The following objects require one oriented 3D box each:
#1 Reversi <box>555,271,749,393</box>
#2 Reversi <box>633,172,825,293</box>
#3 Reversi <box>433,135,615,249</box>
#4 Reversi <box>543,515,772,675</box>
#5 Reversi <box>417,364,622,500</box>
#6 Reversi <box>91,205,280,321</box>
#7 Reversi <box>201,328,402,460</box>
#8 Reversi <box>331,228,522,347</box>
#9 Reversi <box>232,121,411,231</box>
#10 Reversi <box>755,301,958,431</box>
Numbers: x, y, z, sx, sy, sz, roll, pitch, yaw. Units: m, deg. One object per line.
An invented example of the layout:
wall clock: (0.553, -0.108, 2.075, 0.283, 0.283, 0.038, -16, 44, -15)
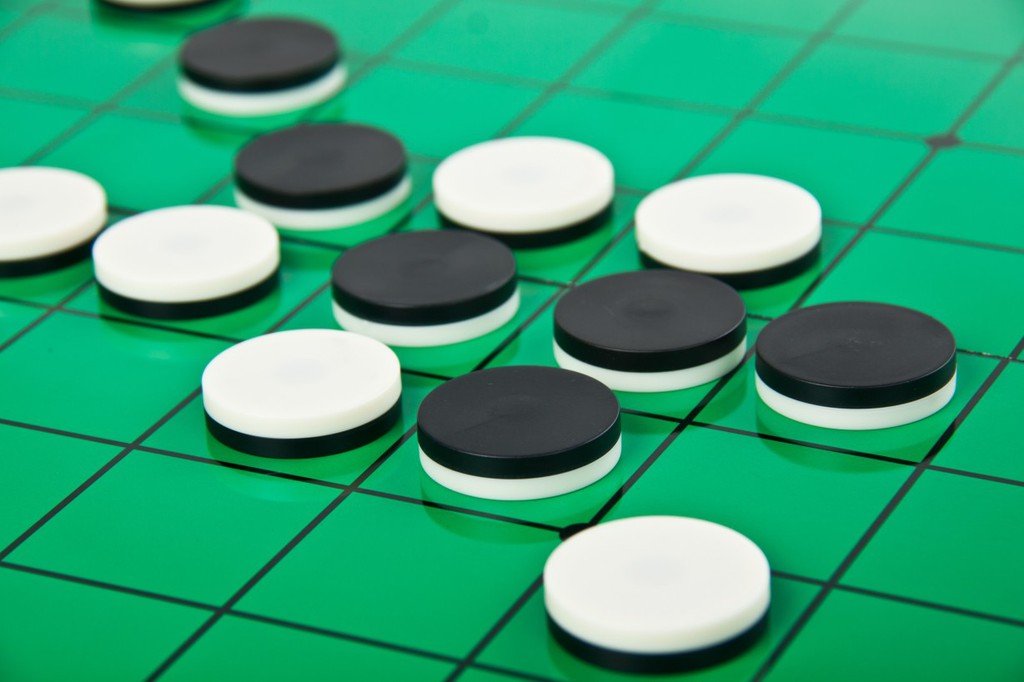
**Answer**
Reversi: (0.180, -0.021, 1.362, 0.243, 0.073, 0.208, -2, 47, 7)
Reversi: (0.321, -0.171, 1.549, 0.267, 0.070, 0.240, 5, 48, 13)
Reversi: (0.020, -0.239, 1.652, 0.279, 0.063, 0.238, -4, 46, 5)
Reversi: (0.140, 0.234, 1.000, 0.211, 0.050, 0.159, -7, 46, 2)
Reversi: (0.011, 0.100, 1.206, 0.227, 0.073, 0.177, -7, 46, 3)
Reversi: (-0.463, -0.119, 1.515, 0.255, 0.071, 0.217, -12, 46, -2)
Reversi: (-0.257, 0.059, 1.318, 0.246, 0.055, 0.239, 5, 27, 9)
Reversi: (-0.119, -0.080, 1.460, 0.255, 0.081, 0.213, -9, 46, 0)
Reversi: (-0.320, -0.255, 1.622, 0.233, 0.054, 0.225, -12, 52, 12)
Reversi: (0.422, 0.024, 1.291, 0.235, 0.069, 0.193, 0, 47, 9)
